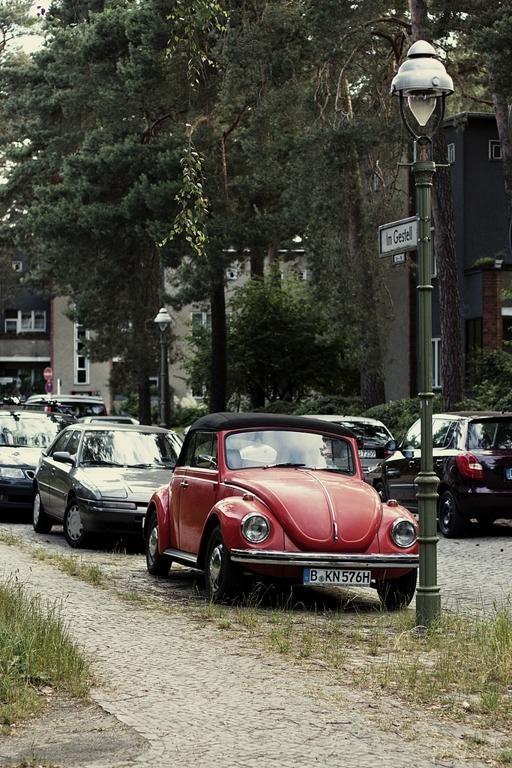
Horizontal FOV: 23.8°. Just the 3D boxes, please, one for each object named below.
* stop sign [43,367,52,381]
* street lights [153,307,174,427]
[{"bbox_3d":[-9.250,-0.415,53.376,0.168,0.744,0.499,4,-1,-14],"label":"stop sign"},{"bbox_3d":[-2.069,-0.339,26.926,0.446,2.677,0.515,-1,-1,12],"label":"street lights"}]
